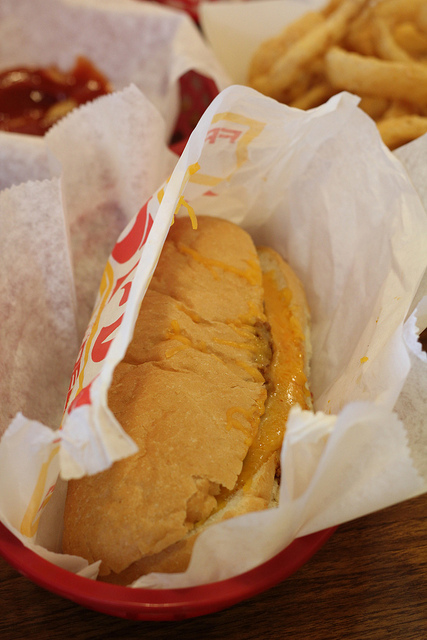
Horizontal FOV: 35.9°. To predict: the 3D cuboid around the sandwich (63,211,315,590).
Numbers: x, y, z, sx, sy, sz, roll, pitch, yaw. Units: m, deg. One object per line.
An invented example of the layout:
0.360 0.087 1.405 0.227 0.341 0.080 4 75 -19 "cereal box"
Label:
-0.013 0.063 0.616 0.219 0.126 0.367 9 53 -1 "sandwich"
